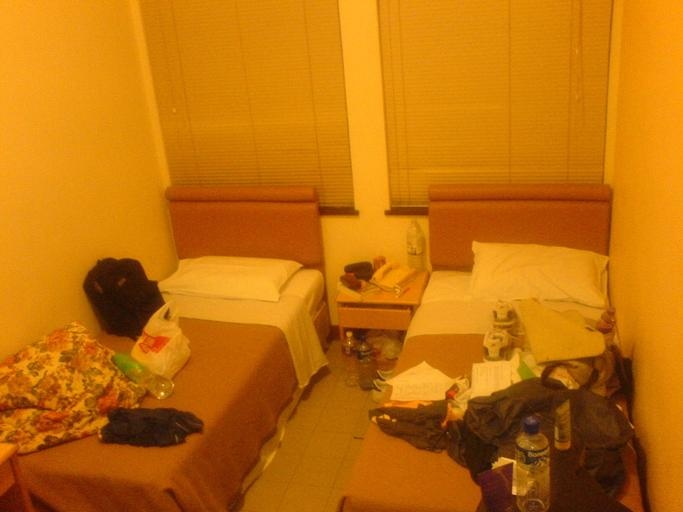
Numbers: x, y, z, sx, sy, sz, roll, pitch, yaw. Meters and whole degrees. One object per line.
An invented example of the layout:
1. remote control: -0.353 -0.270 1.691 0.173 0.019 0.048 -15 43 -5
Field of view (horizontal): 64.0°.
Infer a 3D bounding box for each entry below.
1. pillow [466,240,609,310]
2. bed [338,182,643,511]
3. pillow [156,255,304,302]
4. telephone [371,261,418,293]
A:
1. pillow: 1.389 0.122 3.820 0.789 0.218 0.456 2 63 12
2. bed: 1.012 0.753 3.598 1.394 1.338 2.087 4 47 15
3. pillow: -0.906 0.189 4.288 0.804 0.113 0.478 5 28 12
4. telephone: 0.392 0.105 4.161 0.235 0.090 0.284 14 36 31
